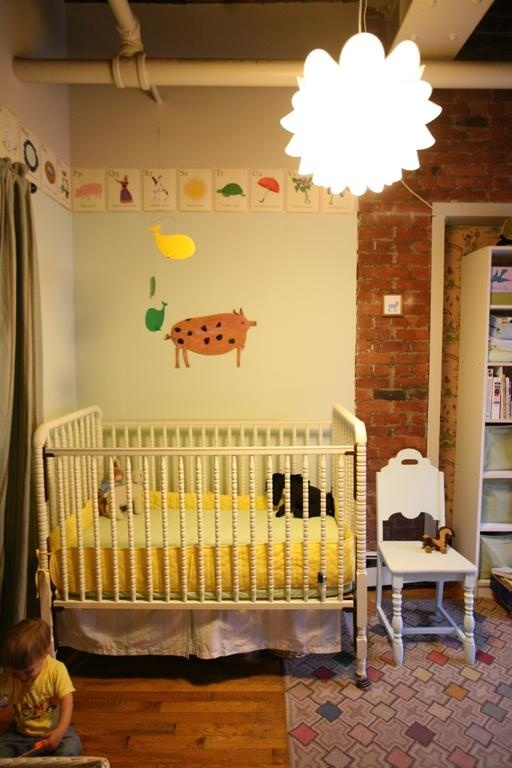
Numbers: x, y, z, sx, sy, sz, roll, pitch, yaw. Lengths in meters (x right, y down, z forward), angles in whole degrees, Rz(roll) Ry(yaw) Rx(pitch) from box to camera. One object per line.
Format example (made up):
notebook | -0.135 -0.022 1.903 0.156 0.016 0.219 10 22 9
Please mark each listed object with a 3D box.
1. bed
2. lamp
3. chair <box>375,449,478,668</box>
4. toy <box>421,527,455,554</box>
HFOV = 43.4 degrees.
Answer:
bed | -0.180 0.585 2.711 1.360 1.143 0.961 0 -1 1
lamp | 0.263 -0.694 1.692 0.394 0.367 0.215 5 14 26
chair | 0.703 0.683 2.676 0.420 0.750 0.719 1 13 11
toy | 0.731 0.637 2.612 0.112 0.081 0.123 -1 12 -2
